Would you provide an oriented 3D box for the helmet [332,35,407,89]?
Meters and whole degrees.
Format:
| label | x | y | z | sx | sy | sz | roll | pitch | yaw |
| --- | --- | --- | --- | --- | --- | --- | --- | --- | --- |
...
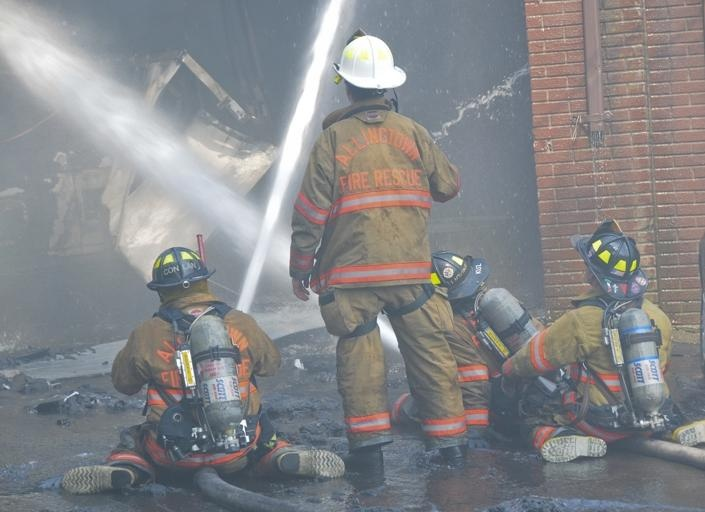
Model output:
| label | x | y | z | sx | sy | sz | roll | pitch | yaw |
| --- | --- | --- | --- | --- | --- | --- | --- | --- | --- |
| helmet | 0.117 | -1.642 | 9.095 | 0.491 | 0.274 | 0.539 | -8 | 25 | -18 |

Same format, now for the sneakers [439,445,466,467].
| label | x | y | z | sx | sy | sz | roll | pitch | yaw |
| --- | --- | --- | --- | --- | --- | --- | --- | --- | --- |
| sneakers | 0.808 | 1.661 | 8.864 | 0.167 | 0.116 | 0.167 | -7 | -9 | 28 |

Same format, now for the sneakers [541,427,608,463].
| label | x | y | z | sx | sy | sz | roll | pitch | yaw |
| --- | --- | --- | --- | --- | --- | --- | --- | --- | --- |
| sneakers | 1.771 | 1.551 | 8.837 | 0.635 | 0.219 | 0.260 | 3 | 7 | -15 |

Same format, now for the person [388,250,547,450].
| label | x | y | z | sx | sy | sz | roll | pitch | yaw |
| --- | --- | --- | --- | --- | --- | --- | --- | --- | --- |
| person | 1.022 | 0.745 | 9.438 | 1.014 | 1.620 | 0.696 | -10 | 10 | -35 |

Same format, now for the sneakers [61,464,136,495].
| label | x | y | z | sx | sy | sz | roll | pitch | yaw |
| --- | --- | --- | --- | --- | --- | --- | --- | --- | --- |
| sneakers | -2.041 | 1.762 | 8.527 | 0.511 | 0.234 | 0.209 | -3 | 1 | -2 |
